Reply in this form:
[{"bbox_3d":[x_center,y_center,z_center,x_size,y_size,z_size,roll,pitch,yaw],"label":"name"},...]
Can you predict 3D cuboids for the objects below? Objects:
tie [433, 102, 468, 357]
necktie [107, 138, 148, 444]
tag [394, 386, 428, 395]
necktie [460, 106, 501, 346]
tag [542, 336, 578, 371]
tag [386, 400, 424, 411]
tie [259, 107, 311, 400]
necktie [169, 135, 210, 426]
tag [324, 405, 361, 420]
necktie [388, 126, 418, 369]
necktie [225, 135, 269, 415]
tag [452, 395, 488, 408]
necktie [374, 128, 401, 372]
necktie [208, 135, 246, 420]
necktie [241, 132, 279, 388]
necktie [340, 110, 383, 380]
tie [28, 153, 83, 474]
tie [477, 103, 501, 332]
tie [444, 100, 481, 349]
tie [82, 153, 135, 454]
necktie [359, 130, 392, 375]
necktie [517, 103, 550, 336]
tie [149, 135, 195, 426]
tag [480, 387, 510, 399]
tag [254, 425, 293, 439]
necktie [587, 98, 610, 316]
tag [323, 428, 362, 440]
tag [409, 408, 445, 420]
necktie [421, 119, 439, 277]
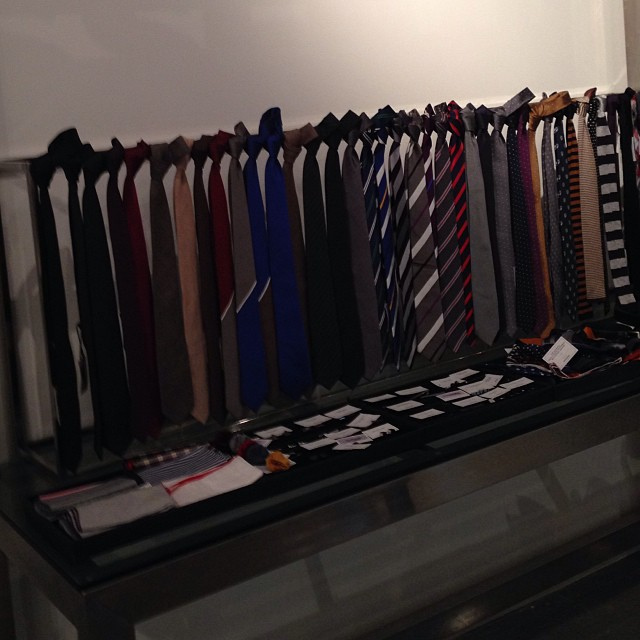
[{"bbox_3d":[0.290,-0.198,1.439,0.063,0.555,0.064,-7,10,-14],"label":"tie"},{"bbox_3d":[-0.331,-0.052,1.092,0.046,0.553,0.056,-2,5,8],"label":"necktie"},{"bbox_3d":[0.187,0.147,1.315,0.061,0.002,0.035,-10,11,-19],"label":"tag"},{"bbox_3d":[0.371,-0.178,1.476,0.068,0.619,0.072,-5,12,-8],"label":"necktie"},{"bbox_3d":[0.506,0.073,1.338,0.049,0.076,0.020,36,-14,20],"label":"tag"},{"bbox_3d":[0.162,0.165,1.226,0.037,0.006,0.025,-14,19,-33],"label":"tag"},{"bbox_3d":[-0.055,-0.105,1.234,0.075,0.540,0.050,-2,-2,-18],"label":"tie"},{"bbox_3d":[-0.230,-0.068,1.204,0.053,0.560,0.068,-3,0,-33],"label":"necktie"},{"bbox_3d":[0.044,0.177,1.231,0.024,0.010,0.044,9,13,32],"label":"tag"},{"bbox_3d":[0.177,-0.158,1.415,0.059,0.520,0.062,-2,2,44],"label":"necktie"},{"bbox_3d":[-0.128,-0.098,1.206,0.058,0.561,0.051,2,-12,-20],"label":"necktie"},{"bbox_3d":[0.282,0.155,1.207,0.062,0.001,0.039,-12,12,-29],"label":"tag"},{"bbox_3d":[0.146,-0.148,1.326,0.043,0.481,0.049,-2,6,34],"label":"necktie"},{"bbox_3d":[-0.174,-0.077,1.165,0.050,0.561,0.057,-4,3,-38],"label":"necktie"},{"bbox_3d":[-0.111,-0.186,1.220,0.036,0.323,0.031,-8,6,9],"label":"necktie"},{"bbox_3d":[0.084,-0.155,1.349,0.065,0.613,0.074,-5,0,-37],"label":"necktie"},{"bbox_3d":[-0.429,0.014,1.045,0.055,0.572,0.054,-6,2,-37],"label":"tie"},{"bbox_3d":[0.387,-0.253,1.466,0.059,0.464,0.056,0,14,16],"label":"tie"},{"bbox_3d":[0.321,-0.214,1.478,0.070,0.559,0.067,-10,11,-42],"label":"tie"},{"bbox_3d":[-0.354,-0.024,1.066,0.063,0.548,0.051,-1,3,19],"label":"tie"},{"bbox_3d":[0.130,-0.141,1.318,0.042,0.474,0.068,-2,5,22],"label":"necktie"},{"bbox_3d":[0.495,-0.250,1.499,0.058,0.641,0.070,-1,1,0],"label":"necktie"},{"bbox_3d":[-0.271,-0.035,1.135,0.100,0.564,0.074,-7,27,-18],"label":"tie"},{"bbox_3d":[0.339,0.143,1.239,0.018,0.007,0.057,12,19,33],"label":"tag"},{"bbox_3d":[-0.085,0.201,1.144,0.066,0.006,0.048,-13,12,-33],"label":"tag"},{"bbox_3d":[0.690,-0.284,1.641,0.083,0.538,0.069,-4,4,-42],"label":"necktie"},{"bbox_3d":[0.040,0.200,1.118,0.021,0.010,0.064,25,21,37],"label":"tag"},{"bbox_3d":[0.195,0.172,1.166,0.063,0.002,0.033,-12,12,-29],"label":"tag"},{"bbox_3d":[0.238,-0.269,1.399,0.038,0.328,0.039,-3,4,-27],"label":"necktie"}]
